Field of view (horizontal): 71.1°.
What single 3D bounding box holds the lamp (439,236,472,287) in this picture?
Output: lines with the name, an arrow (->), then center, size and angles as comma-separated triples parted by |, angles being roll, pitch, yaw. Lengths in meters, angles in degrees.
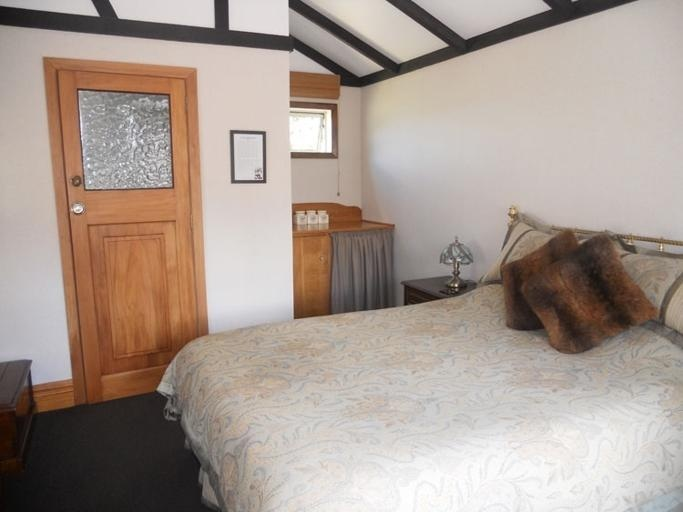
lamp -> 0.994, 0.044, 4.179 | 0.293, 0.410, 0.284 | -6, 9, -19

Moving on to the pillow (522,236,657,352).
pillow -> 1.324, 0.220, 2.584 | 0.609, 0.599, 0.208 | -36, -26, 18
